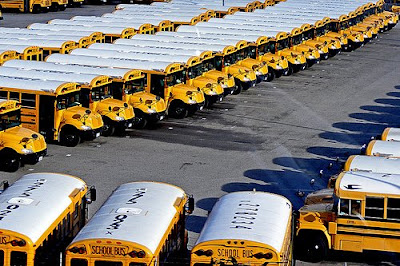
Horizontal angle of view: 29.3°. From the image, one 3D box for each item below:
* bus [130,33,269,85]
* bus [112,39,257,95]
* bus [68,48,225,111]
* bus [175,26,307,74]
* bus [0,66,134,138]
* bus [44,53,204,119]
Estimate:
[{"bbox_3d":[0.028,-4.550,48.117,5.667,1.452,1.440,-19,27,7],"label":"bus"},{"bbox_3d":[-0.453,-4.260,50.843,8.941,3.469,4.165,-3,16,-14],"label":"bus"},{"bbox_3d":[-2.149,-3.263,45.779,11.577,2.132,3.280,9,29,14],"label":"bus"},{"bbox_3d":[4.450,-5.929,54.488,13.900,2.521,2.897,8,28,18],"label":"bus"},{"bbox_3d":[-5.903,-1.889,42.689,11.192,3.198,3.028,2,17,2],"label":"bus"},{"bbox_3d":[-3.004,-2.454,44.411,10.805,3.310,3.822,0,16,-5],"label":"bus"}]
